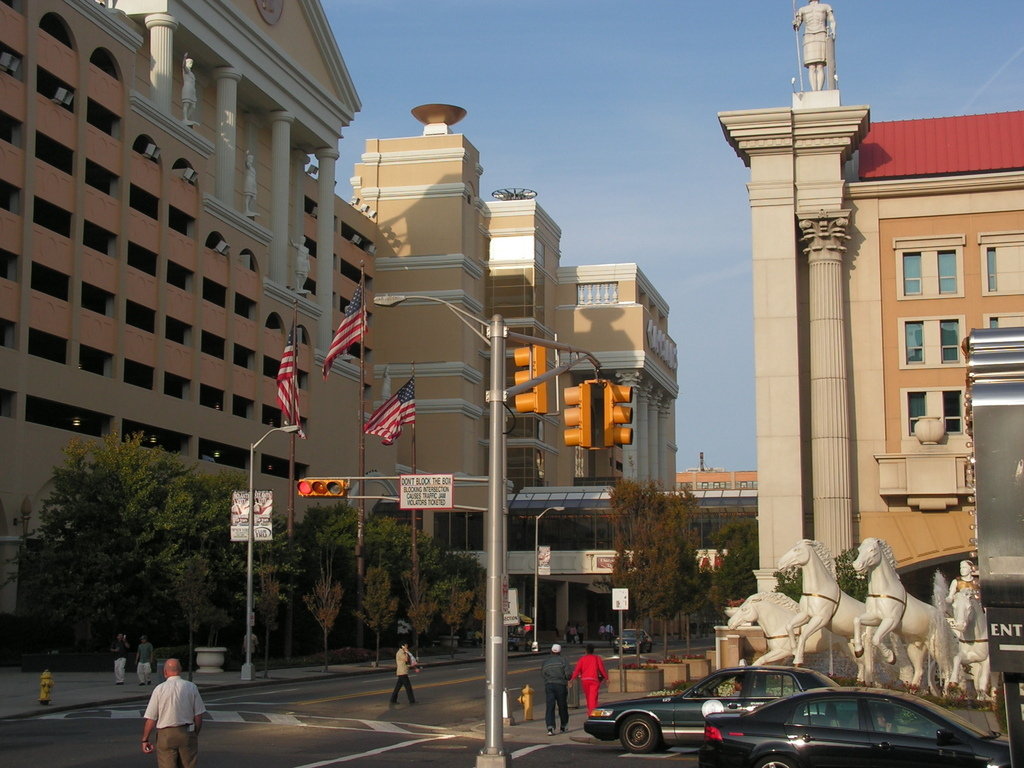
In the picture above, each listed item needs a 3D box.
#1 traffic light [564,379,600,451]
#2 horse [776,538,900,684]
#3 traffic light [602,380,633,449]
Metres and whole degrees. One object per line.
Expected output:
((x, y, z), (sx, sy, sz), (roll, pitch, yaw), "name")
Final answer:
((2.075, 0.834, 51.139), (1.005, 2.041, 0.985), (0, -13, 1), "traffic light")
((11.751, 8.350, 63.340), (3.011, 5.168, 3.567), (-2, -8, -6), "horse")
((3.123, 0.919, 51.055), (0.843, 1.962, 0.592), (0, 0, 18), "traffic light")
